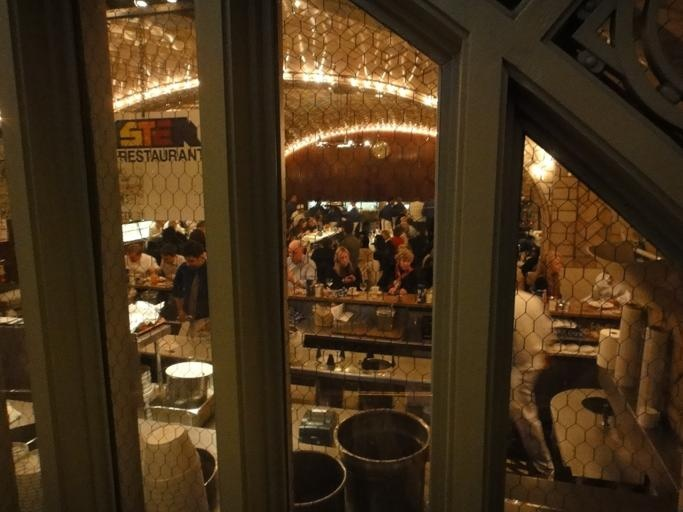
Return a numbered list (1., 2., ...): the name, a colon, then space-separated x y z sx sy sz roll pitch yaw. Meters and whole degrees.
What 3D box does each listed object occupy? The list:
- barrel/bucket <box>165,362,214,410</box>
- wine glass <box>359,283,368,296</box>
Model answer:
1. barrel/bucket: -0.467 0.375 1.925 0.162 0.126 0.173 0 -2 0
2. wine glass: 0.074 0.107 1.975 0.026 0.045 0.027 -10 10 -31
